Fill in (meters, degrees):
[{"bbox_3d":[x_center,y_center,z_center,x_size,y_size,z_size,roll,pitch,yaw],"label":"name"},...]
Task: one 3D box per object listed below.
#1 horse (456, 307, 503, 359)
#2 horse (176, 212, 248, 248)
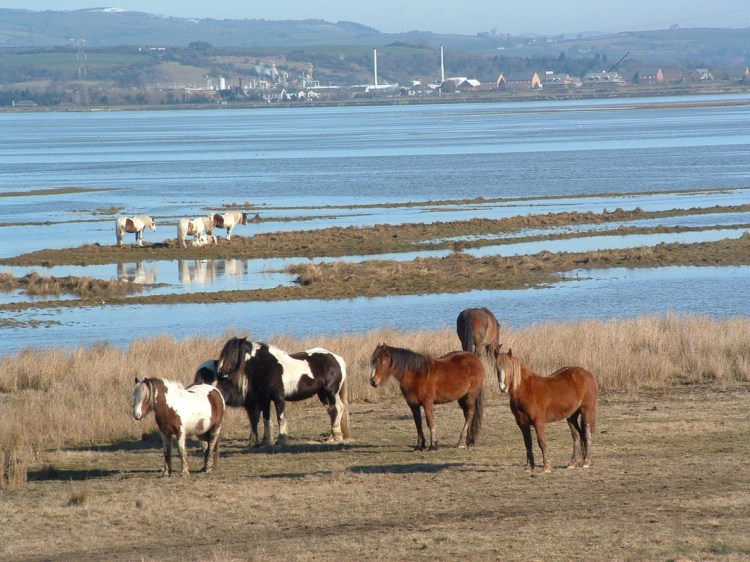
[{"bbox_3d":[11.812,6.255,195.457,3.517,6.039,3.927,-7,15,-20],"label":"horse"},{"bbox_3d":[-21.236,-6.949,225.641,8.898,3.994,4.499,-7,9,-36],"label":"horse"}]
